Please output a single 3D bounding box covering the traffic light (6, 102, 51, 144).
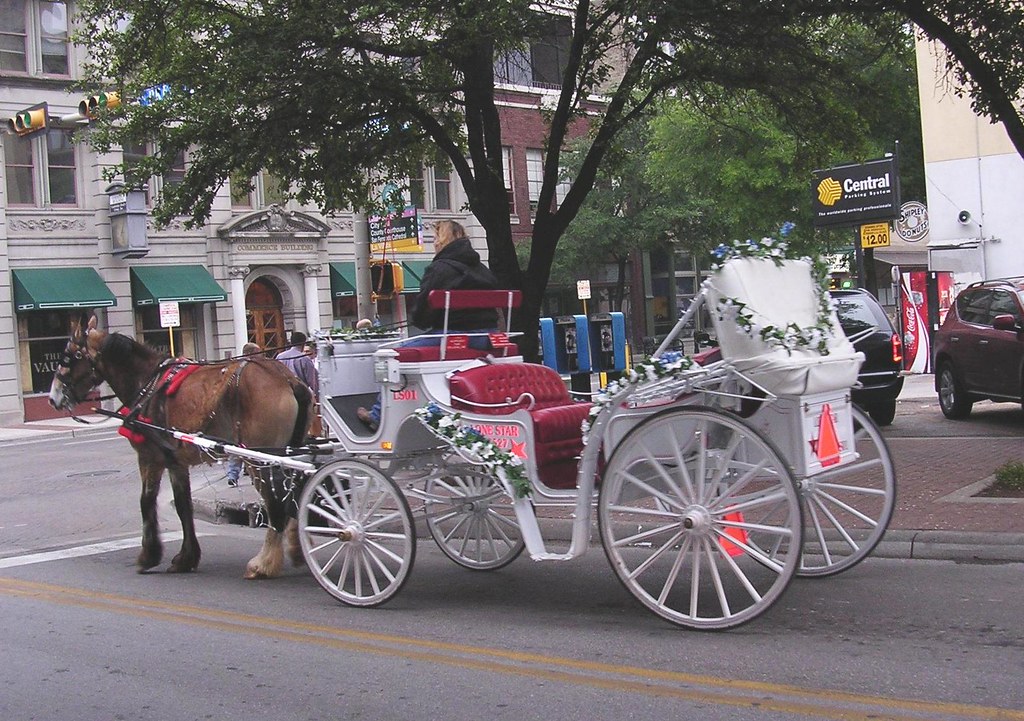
[{"bbox_3d":[-9.675,-4.888,21.415,0.562,0.693,1.057,-4,3,-29],"label":"traffic light"}]

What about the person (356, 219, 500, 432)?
[{"bbox_3d":[-0.769,-0.325,10.724,0.980,2.082,1.309,14,-8,-37],"label":"person"}]

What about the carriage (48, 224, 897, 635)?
[{"bbox_3d":[-1.375,0.597,11.826,10.262,4.013,3.362,0,0,25],"label":"carriage"}]

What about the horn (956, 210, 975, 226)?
[{"bbox_3d":[13.032,-4.100,30.638,0.426,0.442,0.175,-1,4,24],"label":"horn"}]

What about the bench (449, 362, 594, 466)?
[{"bbox_3d":[0.157,0.371,9.711,0.823,1.016,1.515,-7,-6,41],"label":"bench"}]

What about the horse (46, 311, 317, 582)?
[{"bbox_3d":[-3.588,0.975,11.712,3.482,2.652,0.972,0,-3,22],"label":"horse"}]
